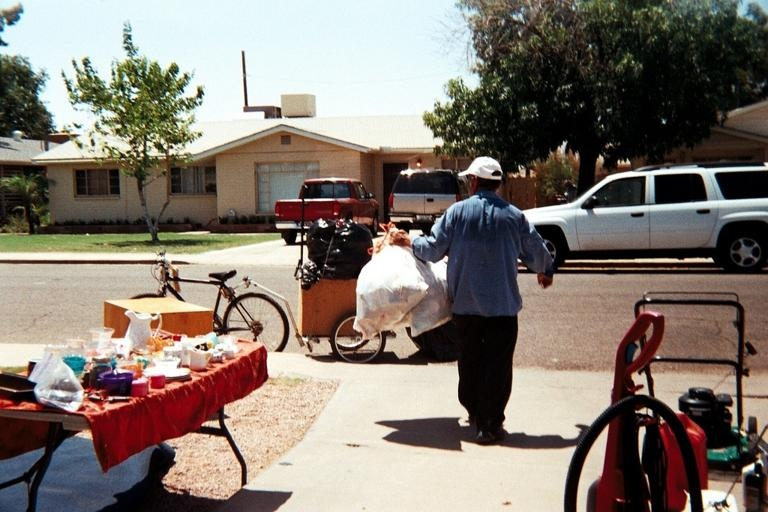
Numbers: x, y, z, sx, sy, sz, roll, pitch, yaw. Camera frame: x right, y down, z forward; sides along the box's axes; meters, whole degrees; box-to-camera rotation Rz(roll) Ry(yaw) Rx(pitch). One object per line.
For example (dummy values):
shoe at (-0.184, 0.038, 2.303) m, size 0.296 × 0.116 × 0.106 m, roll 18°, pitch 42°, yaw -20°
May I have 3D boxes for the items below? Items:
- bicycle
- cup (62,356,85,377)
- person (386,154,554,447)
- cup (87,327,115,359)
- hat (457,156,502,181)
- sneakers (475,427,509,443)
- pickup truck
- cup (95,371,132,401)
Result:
bicycle at (-2.339, 0.674, 11.205) m, size 2.190 × 1.597 × 1.202 m, roll 0°, pitch 6°, yaw -5°
cup at (-2.734, 0.976, 6.980) m, size 0.153 × 0.132 × 0.158 m, roll 0°, pitch 0°, yaw 0°
person at (1.044, 0.445, 8.255) m, size 1.288 × 2.947 × 0.589 m, roll 0°, pitch 3°, yaw 13°
cup at (-2.614, 0.817, 7.289) m, size 0.157 × 0.253 × 0.155 m, roll 12°, pitch 15°, yaw -3°
hat at (1.042, -0.920, 8.371) m, size 0.340 × 0.233 × 0.272 m, roll 2°, pitch 6°, yaw 13°
sneakers at (1.096, 1.860, 8.143) m, size 0.126 × 0.178 × 0.363 m, roll -9°, pitch -15°, yaw 34°
pickup truck at (-1.657, -1.718, 26.113) m, size 1.836 × 1.552 × 3.660 m, roll 1°, pitch 8°, yaw 19°
cup at (-2.323, 1.100, 6.734) m, size 0.353 × 0.199 × 0.168 m, roll 0°, pitch 3°, yaw 3°
